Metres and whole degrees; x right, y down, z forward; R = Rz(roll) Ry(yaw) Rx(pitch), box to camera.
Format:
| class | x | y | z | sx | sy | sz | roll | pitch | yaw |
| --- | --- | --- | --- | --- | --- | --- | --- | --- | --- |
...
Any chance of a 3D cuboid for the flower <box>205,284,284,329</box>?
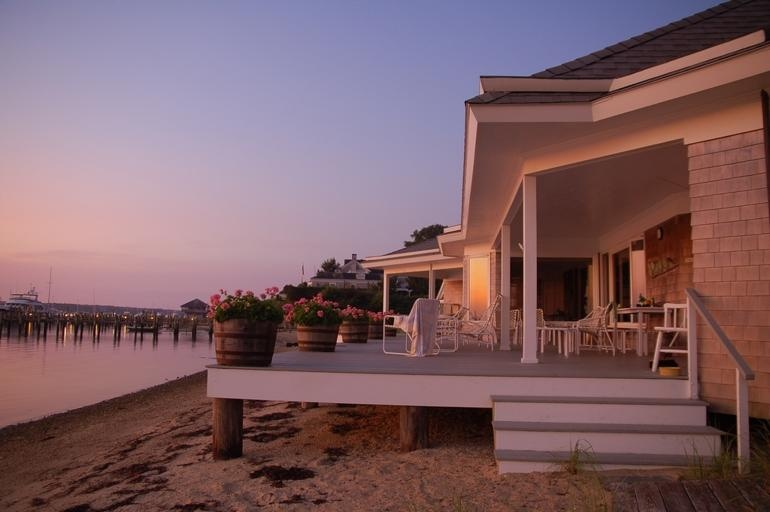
| class | x | y | z | sx | sy | sz | roll | pitch | yaw |
| --- | --- | --- | --- | --- | --- | --- | --- | --- | --- |
| flower | -2.493 | 0.903 | 10.017 | 0.950 | 0.501 | 0.766 | 3 | -4 | -22 |

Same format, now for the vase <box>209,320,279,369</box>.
| class | x | y | z | sx | sy | sz | roll | pitch | yaw |
| --- | --- | --- | --- | --- | --- | --- | --- | --- | --- |
| vase | -2.503 | 1.609 | 10.263 | 0.912 | 0.571 | 0.929 | 2 | -12 | -9 |

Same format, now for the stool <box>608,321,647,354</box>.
| class | x | y | z | sx | sy | sz | roll | pitch | yaw |
| --- | --- | --- | --- | --- | --- | --- | --- | --- | --- |
| stool | 5.750 | 1.913 | 13.283 | 0.728 | 0.472 | 1.080 | -2 | -2 | 10 |

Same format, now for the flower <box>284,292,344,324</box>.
| class | x | y | z | sx | sy | sz | roll | pitch | yaw |
| --- | --- | --- | --- | --- | --- | --- | --- | --- | --- |
| flower | -1.702 | 1.257 | 13.401 | 0.991 | 0.627 | 0.807 | 2 | -3 | -17 |
